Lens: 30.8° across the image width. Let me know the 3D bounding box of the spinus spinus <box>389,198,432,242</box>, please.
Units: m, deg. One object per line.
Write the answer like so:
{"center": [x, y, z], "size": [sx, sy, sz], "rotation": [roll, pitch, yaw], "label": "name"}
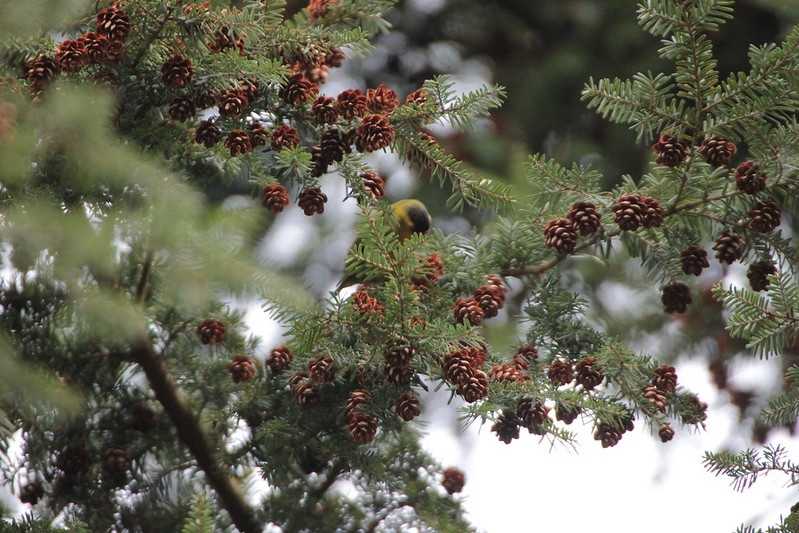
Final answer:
{"center": [0.033, -0.134, 4.366], "size": [0.090, 0.127, 0.092], "rotation": [15, -86, -4], "label": "spinus spinus"}
